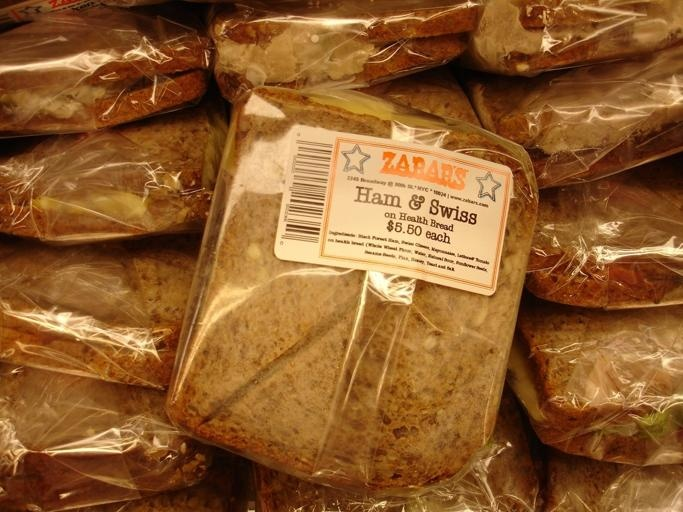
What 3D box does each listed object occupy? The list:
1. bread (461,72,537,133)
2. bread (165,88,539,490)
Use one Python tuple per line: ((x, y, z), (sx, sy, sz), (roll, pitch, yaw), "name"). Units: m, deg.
((0.244, -0.249, 0.919), (0.123, 0.031, 0.107), (1, 73, 18), "bread")
((0.017, 0.058, 0.915), (0.502, 0.166, 0.517), (11, 84, 2), "bread")
